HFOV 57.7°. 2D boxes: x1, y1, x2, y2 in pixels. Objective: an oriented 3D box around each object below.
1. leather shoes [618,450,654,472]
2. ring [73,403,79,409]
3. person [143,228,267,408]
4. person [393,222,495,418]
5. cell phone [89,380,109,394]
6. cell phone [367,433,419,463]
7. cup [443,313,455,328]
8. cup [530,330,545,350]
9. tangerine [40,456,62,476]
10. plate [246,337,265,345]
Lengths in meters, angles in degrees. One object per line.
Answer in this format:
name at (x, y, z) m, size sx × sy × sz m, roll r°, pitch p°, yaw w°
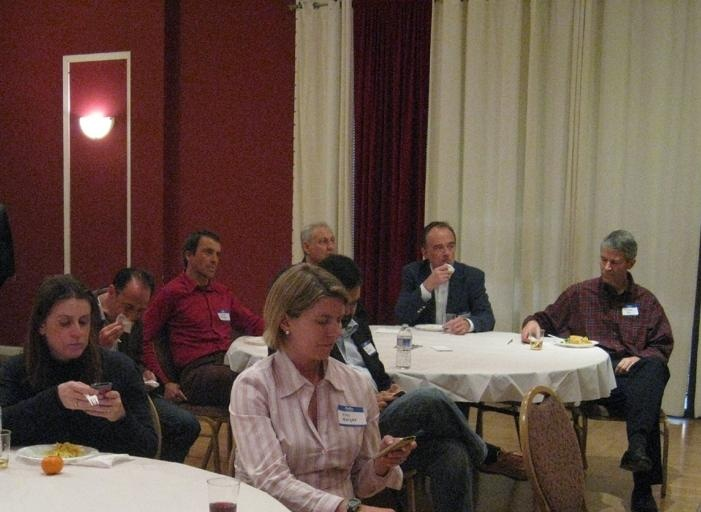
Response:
leather shoes at (1.760, 1.282, 3.994) m, size 0.107 × 0.147 × 0.222 m, roll 13°, pitch -29°, yaw -13°
ring at (-1.141, 0.621, 2.647) m, size 0.017 × 0.021 × 0.018 m, roll -4°, pitch 0°, yaw 0°
person at (-1.063, 0.553, 4.853) m, size 0.919 × 1.561 × 0.827 m, roll -5°, pitch -9°, yaw 9°
person at (0.721, 0.321, 5.133) m, size 0.735 × 1.507 × 0.856 m, roll -1°, pitch -19°, yaw 0°
cell phone at (-1.042, 0.537, 2.675) m, size 0.054 × 0.032 × 0.075 m, roll 1°, pitch 1°, yaw 22°
cell phone at (0.163, 0.786, 2.585) m, size 0.199 × 0.088 × 0.120 m, roll -4°, pitch -1°, yaw 24°
cup at (0.730, 0.474, 4.755) m, size 0.080 × 0.152 × 0.089 m, roll -1°, pitch -2°, yaw 16°
cup at (1.240, 0.562, 4.265) m, size 0.101 × 0.120 × 0.104 m, roll -1°, pitch -1°, yaw 0°
tangerine at (-1.131, 0.793, 2.421) m, size 0.063 × 0.070 × 0.067 m, roll 1°, pitch 6°, yaw -3°
plate at (-0.618, 0.548, 4.123) m, size 0.144 × 0.051 × 0.154 m, roll 2°, pitch 0°, yaw -11°
